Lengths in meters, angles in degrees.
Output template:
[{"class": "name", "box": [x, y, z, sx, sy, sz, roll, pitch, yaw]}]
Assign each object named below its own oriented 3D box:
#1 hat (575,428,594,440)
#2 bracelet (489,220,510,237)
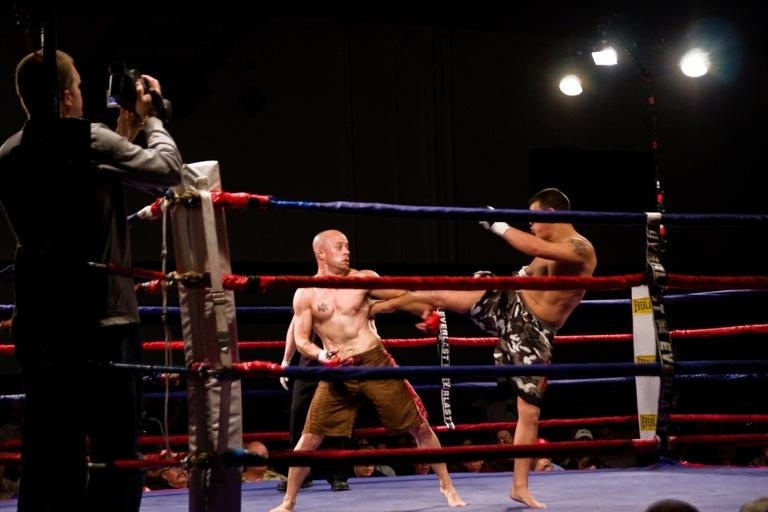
[{"class": "hat", "box": [1.790, 1.581, 7.620, 0.174, 0.070, 0.231, 1, -11, 7]}, {"class": "bracelet", "box": [0.761, -0.178, 5.512, 0.122, 0.088, 0.094, -26, -5, 30]}]
